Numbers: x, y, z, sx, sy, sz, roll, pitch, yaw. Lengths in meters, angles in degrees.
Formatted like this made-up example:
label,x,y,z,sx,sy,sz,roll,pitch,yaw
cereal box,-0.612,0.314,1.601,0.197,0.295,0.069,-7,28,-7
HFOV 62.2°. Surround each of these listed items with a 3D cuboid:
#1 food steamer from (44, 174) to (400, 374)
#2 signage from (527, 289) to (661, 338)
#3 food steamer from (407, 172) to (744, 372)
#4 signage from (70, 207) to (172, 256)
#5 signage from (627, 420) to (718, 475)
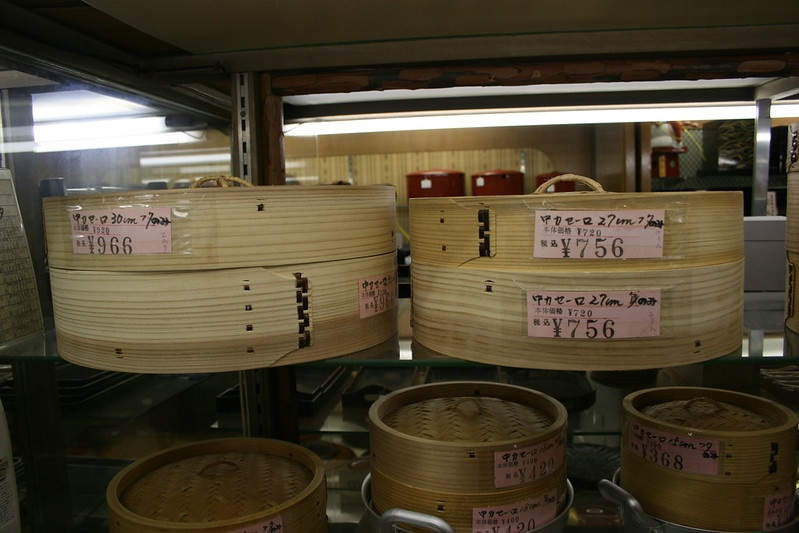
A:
label,x,y,z,sx,sy,sz,roll,pitch,yaw
food steamer,-0.393,0.011,1.494,0.587,0.275,0.600,3,7,41
signage,0.422,0.100,1.438,0.299,0.110,0.029,-1,3,2
food steamer,0.445,-0.030,1.799,0.856,0.414,0.868,3,7,41
signage,-0.615,-0.081,1.482,0.253,0.106,0.033,-1,1,-2
signage,0.642,0.428,1.538,0.185,0.089,0.032,1,10,27
